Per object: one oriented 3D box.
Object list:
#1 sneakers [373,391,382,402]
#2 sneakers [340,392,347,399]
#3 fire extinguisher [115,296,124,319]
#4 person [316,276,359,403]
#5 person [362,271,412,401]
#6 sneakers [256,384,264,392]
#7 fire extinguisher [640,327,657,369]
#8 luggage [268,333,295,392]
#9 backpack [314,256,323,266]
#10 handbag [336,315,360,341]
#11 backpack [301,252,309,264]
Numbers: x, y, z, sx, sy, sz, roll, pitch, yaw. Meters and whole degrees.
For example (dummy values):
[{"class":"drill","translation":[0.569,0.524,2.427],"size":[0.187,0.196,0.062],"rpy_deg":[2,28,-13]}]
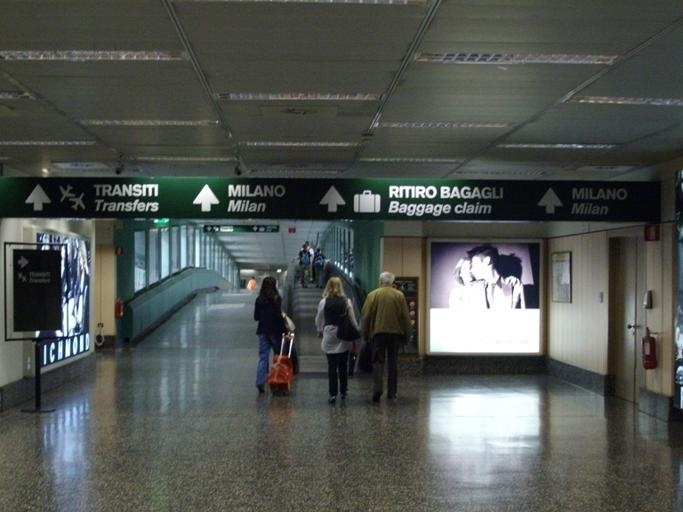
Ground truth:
[{"class":"sneakers","translation":[0.497,1.996,8.773],"size":[0.133,0.174,0.293],"rpy_deg":[0,1,1]},{"class":"sneakers","translation":[0.018,2.045,8.900],"size":[0.073,0.137,0.073],"rpy_deg":[1,-7,3]},{"class":"fire extinguisher","translation":[-5.245,1.263,14.420],"size":[0.178,0.420,0.262],"rpy_deg":[0,2,-19]},{"class":"person","translation":[-0.067,1.197,8.842],"size":[0.599,1.769,0.672],"rpy_deg":[0,1,-8]},{"class":"person","translation":[0.615,1.261,8.699],"size":[0.683,1.638,0.315],"rpy_deg":[0,1,1]},{"class":"sneakers","translation":[-1.221,2.007,9.246],"size":[0.091,0.121,0.121],"rpy_deg":[0,-44,1]},{"class":"fire extinguisher","translation":[4.189,1.273,8.327],"size":[0.177,0.582,0.291],"rpy_deg":[1,2,20]},{"class":"luggage","translation":[-0.927,1.627,9.222],"size":[0.360,0.899,0.864],"rpy_deg":[0,1,-6]},{"class":"backpack","translation":[-0.766,0.157,20.448],"size":[0.256,0.338,0.132],"rpy_deg":[-2,15,6]},{"class":"handbag","translation":[0.070,1.015,8.578],"size":[0.401,0.436,0.214],"rpy_deg":[0,-15,-14]},{"class":"backpack","translation":[-1.251,0.056,20.873],"size":[0.334,0.466,0.242],"rpy_deg":[1,-19,-1]}]
